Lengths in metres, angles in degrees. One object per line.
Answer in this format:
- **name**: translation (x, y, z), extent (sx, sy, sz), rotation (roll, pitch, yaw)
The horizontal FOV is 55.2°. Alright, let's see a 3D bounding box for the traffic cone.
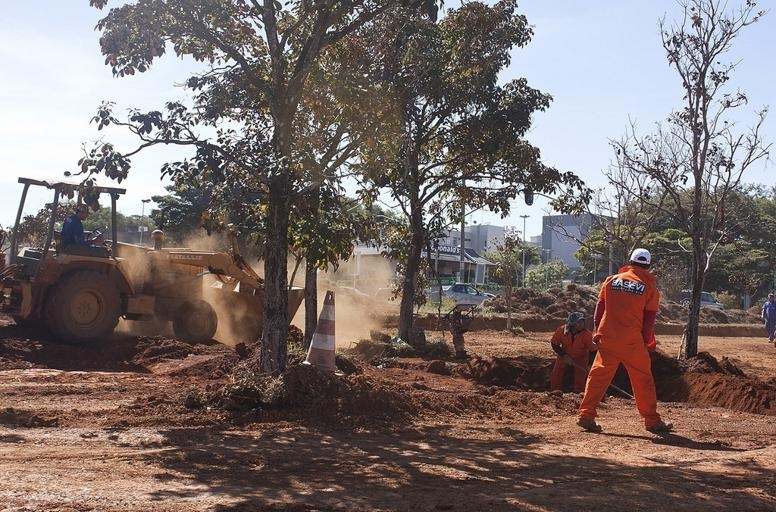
- **traffic cone**: translation (-1.153, 1.313, 13.053), extent (0.513, 1.437, 0.457), rotation (4, -3, -7)

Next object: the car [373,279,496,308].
- **car**: translation (1.864, 1.617, 31.531), extent (2.880, 1.042, 1.344), rotation (-2, 0, -23)

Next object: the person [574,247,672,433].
- **person**: translation (3.982, 1.397, 12.409), extent (1.293, 3.078, 0.480), rotation (3, -3, 19)

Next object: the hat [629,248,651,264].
- **hat**: translation (4.290, -0.042, 12.665), extent (0.235, 0.192, 0.329), rotation (4, 16, -13)

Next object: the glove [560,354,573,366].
- **glove**: translation (3.565, 2.043, 14.747), extent (0.097, 0.139, 0.393), rotation (16, -16, -18)

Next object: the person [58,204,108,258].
- **person**: translation (-6.845, -0.587, 16.854), extent (0.781, 1.208, 1.132), rotation (9, 5, 44)
